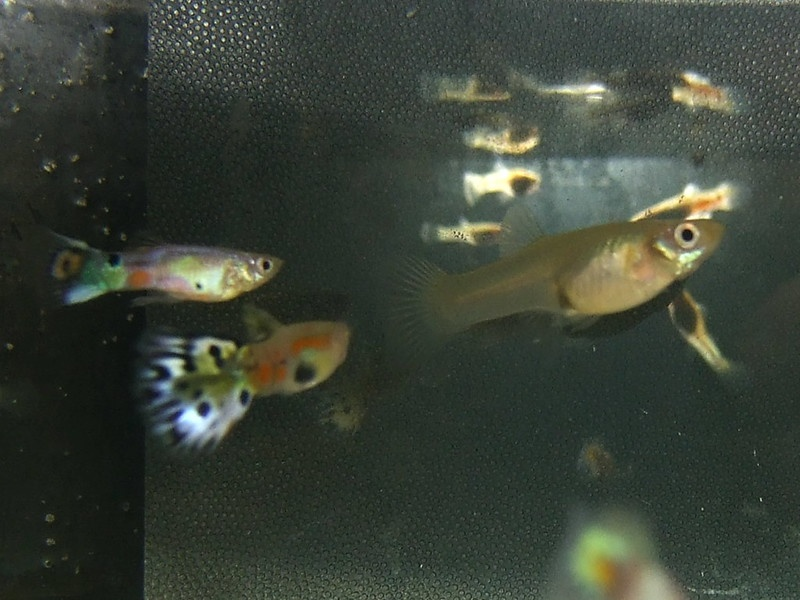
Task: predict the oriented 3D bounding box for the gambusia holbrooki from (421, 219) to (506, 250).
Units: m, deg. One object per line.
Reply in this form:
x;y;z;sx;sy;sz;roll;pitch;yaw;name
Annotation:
0.129;-0.137;1.998;0.199;0.069;0.066;1;21;1;gambusia holbrooki

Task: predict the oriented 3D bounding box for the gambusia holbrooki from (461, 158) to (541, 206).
0.217;-0.245;2.005;0.164;0.082;0.075;-11;17;0;gambusia holbrooki

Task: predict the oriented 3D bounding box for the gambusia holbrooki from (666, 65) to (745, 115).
0.633;-0.427;1.942;0.124;0.074;0.028;23;5;-2;gambusia holbrooki
